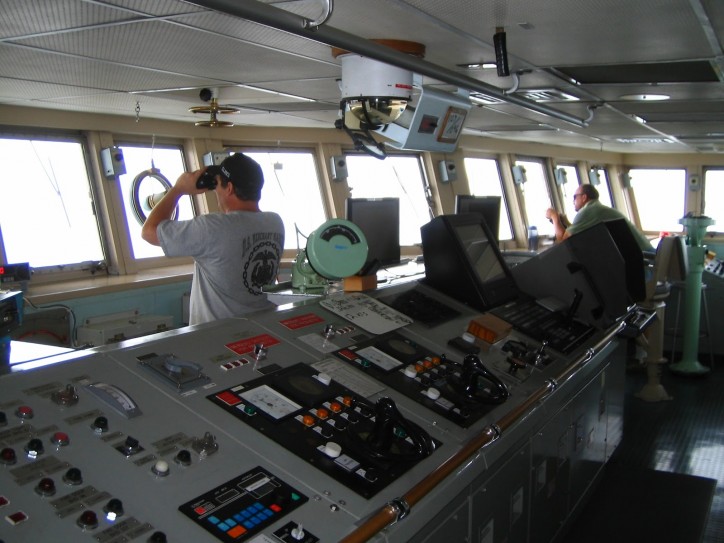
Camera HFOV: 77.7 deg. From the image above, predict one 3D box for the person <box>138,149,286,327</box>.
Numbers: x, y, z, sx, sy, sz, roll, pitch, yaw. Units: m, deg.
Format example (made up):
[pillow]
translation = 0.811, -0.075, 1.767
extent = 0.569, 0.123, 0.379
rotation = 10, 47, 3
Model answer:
[person]
translation = -0.704, -0.161, 2.165
extent = 0.640, 0.796, 0.386
rotation = -2, 10, -9

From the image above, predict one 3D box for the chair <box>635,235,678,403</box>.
[chair]
translation = 2.804, 0.446, 4.358
extent = 0.545, 1.492, 0.425
rotation = 0, -7, 27

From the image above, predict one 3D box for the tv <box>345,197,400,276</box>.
[tv]
translation = 0.068, -0.244, 2.948
extent = 0.062, 0.467, 0.553
rotation = 8, 24, 43
